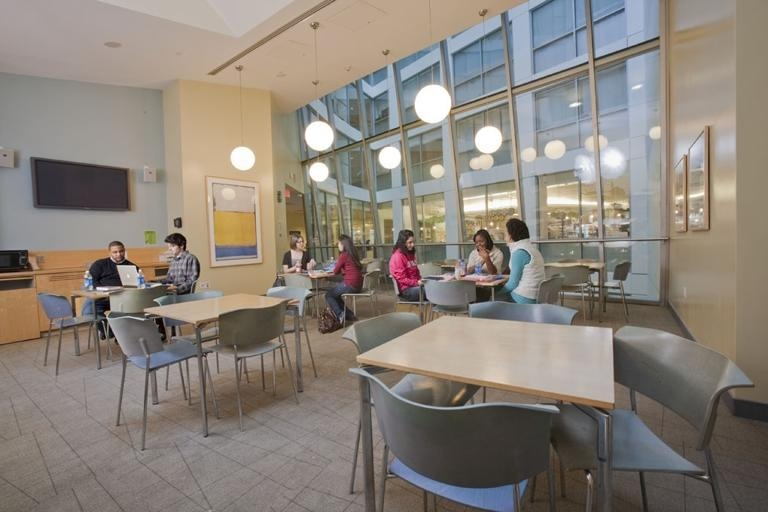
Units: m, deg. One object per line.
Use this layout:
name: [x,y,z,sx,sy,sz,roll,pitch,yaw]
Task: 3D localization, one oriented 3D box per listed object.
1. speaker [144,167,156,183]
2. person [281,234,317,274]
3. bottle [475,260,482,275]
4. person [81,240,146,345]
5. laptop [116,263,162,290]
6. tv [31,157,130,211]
speaker: [-4.328,-1.499,9.337,0.110,0.317,0.284,5,1,35]
person: [-1.508,-0.002,8.998,0.576,0.747,0.561,2,4,-23]
bottle: [1.371,0.171,7.474,0.131,0.220,0.130,-3,1,0]
person: [-4.132,0.546,7.739,0.621,1.521,0.691,0,-2,39]
laptop: [-3.562,0.302,7.396,0.490,0.359,0.508,3,3,18]
tv: [-5.233,-1.228,8.607,1.049,0.623,0.106,0,-2,-42]
